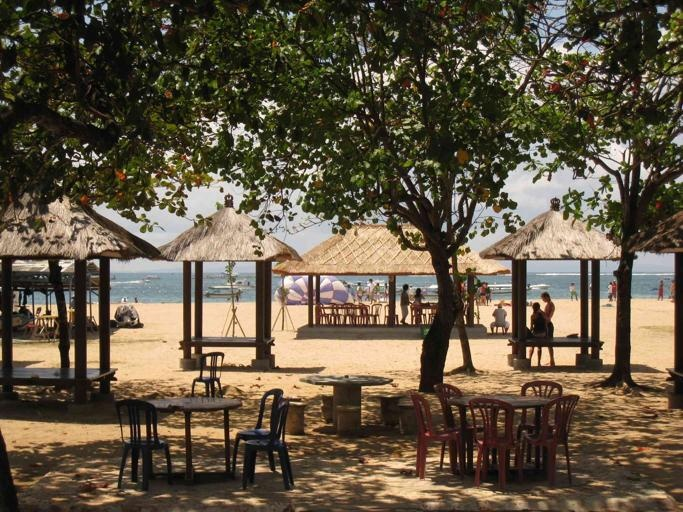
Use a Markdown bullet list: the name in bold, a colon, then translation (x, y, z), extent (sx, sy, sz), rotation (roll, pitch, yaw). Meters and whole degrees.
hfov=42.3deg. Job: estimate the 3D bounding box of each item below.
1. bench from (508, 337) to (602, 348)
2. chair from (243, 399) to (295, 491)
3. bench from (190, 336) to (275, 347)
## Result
- **bench**: translation (4.817, 1.947, 20.014), extent (1.910, 0.272, 1.101), rotation (1, -5, -20)
- **chair**: translation (-0.881, 2.302, 10.774), extent (0.725, 0.930, 0.696), rotation (-7, -12, 23)
- **bench**: translation (-2.642, 2.000, 20.597), extent (1.828, 0.220, 2.327), rotation (2, -5, -23)
